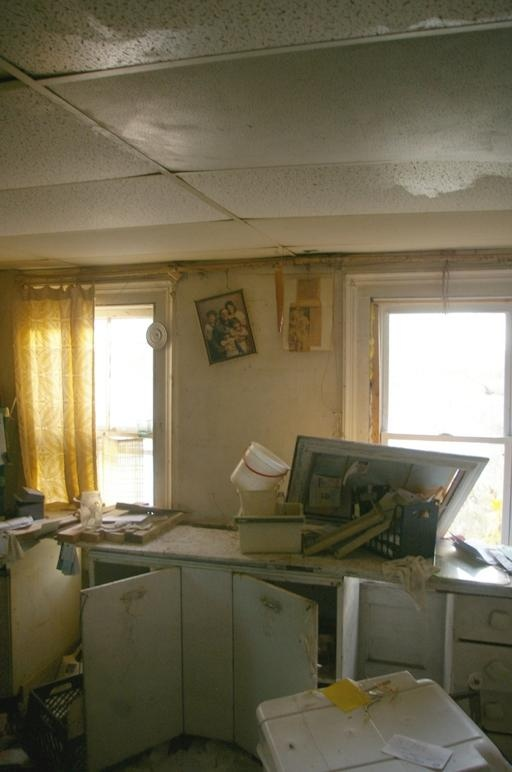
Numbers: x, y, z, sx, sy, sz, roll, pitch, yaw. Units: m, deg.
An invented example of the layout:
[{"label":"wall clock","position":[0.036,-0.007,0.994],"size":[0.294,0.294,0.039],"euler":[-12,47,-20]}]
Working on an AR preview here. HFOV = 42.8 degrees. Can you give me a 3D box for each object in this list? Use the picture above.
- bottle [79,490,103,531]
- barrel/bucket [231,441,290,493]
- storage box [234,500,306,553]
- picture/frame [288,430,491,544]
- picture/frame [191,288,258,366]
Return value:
[{"label":"bottle","position":[-0.734,0.544,2.894],"size":[0.088,0.137,0.182],"euler":[-1,2,-16]},{"label":"barrel/bucket","position":[0.012,0.320,2.603],"size":[0.201,0.175,0.187],"euler":[33,-2,1]},{"label":"storage box","position":[0.051,0.537,2.518],"size":[0.192,0.114,0.189],"euler":[-1,-1,6]},{"label":"picture/frame","position":[0.488,0.414,2.579],"size":[0.733,0.434,0.360],"euler":[0,1,2]},{"label":"picture/frame","position":[-0.141,-0.291,3.167],"size":[0.320,0.406,0.031],"euler":[-14,-3,23]}]
